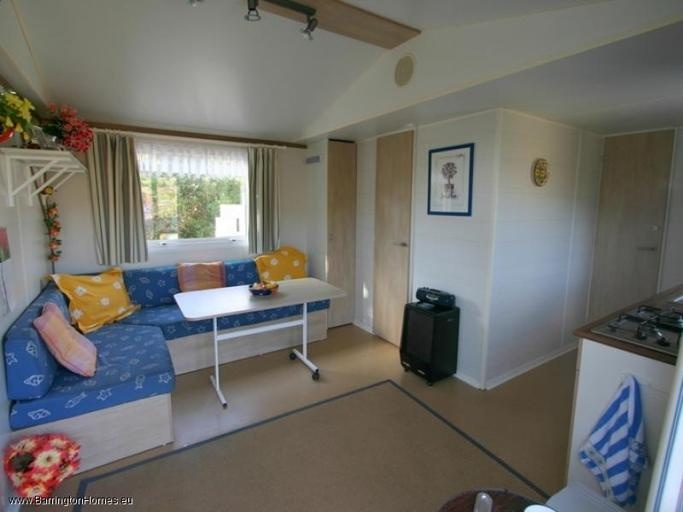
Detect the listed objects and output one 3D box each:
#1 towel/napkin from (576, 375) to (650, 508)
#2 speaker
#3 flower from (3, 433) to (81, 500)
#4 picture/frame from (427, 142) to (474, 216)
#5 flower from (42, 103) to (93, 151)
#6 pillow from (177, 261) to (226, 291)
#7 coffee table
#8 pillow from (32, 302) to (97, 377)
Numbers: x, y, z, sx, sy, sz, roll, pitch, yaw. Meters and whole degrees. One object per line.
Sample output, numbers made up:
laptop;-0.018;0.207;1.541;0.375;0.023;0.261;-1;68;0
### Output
towel/napkin;1.708;1.143;2.973;0.359;0.790;0.227;4;13;20
speaker;0.861;0.830;4.521;0.410;0.807;0.548;-9;17;-33
flower;-2.030;1.396;3.228;0.439;0.303;0.356;-7;13;-27
picture/frame;1.023;-0.718;4.529;0.511;0.654;0.019;-7;14;-24
flower;-2.077;-0.969;3.599;0.320;0.333;0.195;-8;14;-33
pillow;-1.493;0.222;5.074;0.325;0.349;0.101;1;-7;-26
coffee table;-0.871;0.387;4.660;1.865;1.282;0.964;-8;20;-31
pillow;-2.101;0.652;3.630;0.154;0.509;0.537;-26;-26;-3
